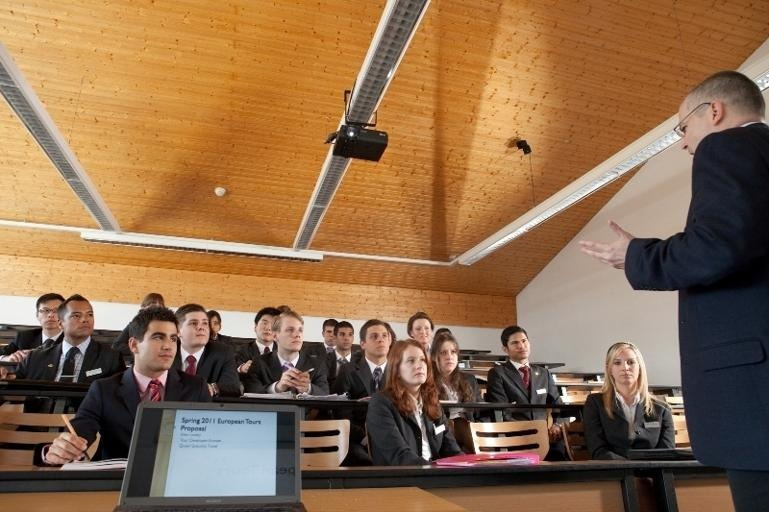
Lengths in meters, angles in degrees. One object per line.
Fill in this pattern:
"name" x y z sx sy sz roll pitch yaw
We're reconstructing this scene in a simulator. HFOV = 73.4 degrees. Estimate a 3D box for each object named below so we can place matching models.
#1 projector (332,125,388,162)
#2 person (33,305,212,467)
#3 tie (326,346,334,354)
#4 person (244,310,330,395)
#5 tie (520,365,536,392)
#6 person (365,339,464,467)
"projector" -0.241 -1.207 5.529 0.567 0.135 0.357 8 -30 -14
"person" -1.626 0.788 3.214 0.873 1.133 0.423 12 -67 -25
"tie" -0.754 1.326 7.315 0.093 0.055 0.087 -4 -11 32
"person" -1.025 0.988 5.285 0.887 1.086 0.710 3 -49 -12
"tie" 1.437 1.224 5.205 0.150 0.206 0.060 -3 -18 -7
"person" 0.126 0.901 3.271 0.424 0.764 0.499 -3 -21 8
